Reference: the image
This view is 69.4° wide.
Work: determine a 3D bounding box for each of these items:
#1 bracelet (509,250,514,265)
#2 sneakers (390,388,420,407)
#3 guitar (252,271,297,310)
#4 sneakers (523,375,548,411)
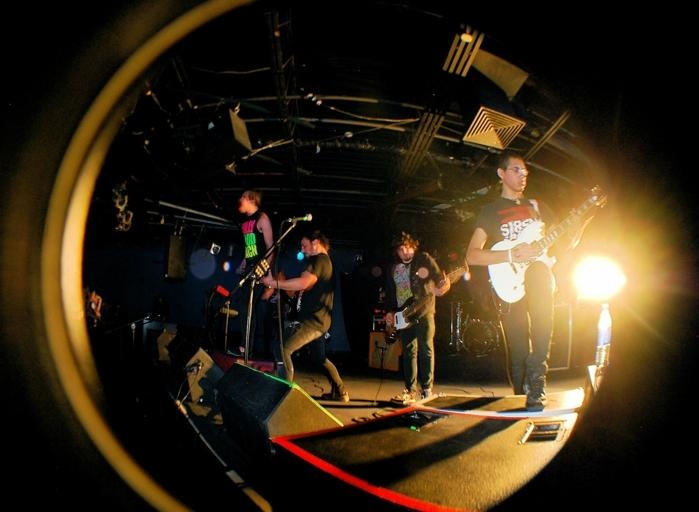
[{"bbox_3d":[0.943,-0.001,2.939,0.029,0.091,0.023,0,-42,4],"label":"bracelet"},{"bbox_3d":[0.482,1.269,4.558,0.295,0.129,0.130,3,-10,10],"label":"sneakers"},{"bbox_3d":[-0.738,0.350,5.012,0.437,0.381,0.811,-4,1,-6],"label":"guitar"},{"bbox_3d":[1.059,0.765,2.858,0.110,0.235,0.337,7,-3,17],"label":"sneakers"}]
